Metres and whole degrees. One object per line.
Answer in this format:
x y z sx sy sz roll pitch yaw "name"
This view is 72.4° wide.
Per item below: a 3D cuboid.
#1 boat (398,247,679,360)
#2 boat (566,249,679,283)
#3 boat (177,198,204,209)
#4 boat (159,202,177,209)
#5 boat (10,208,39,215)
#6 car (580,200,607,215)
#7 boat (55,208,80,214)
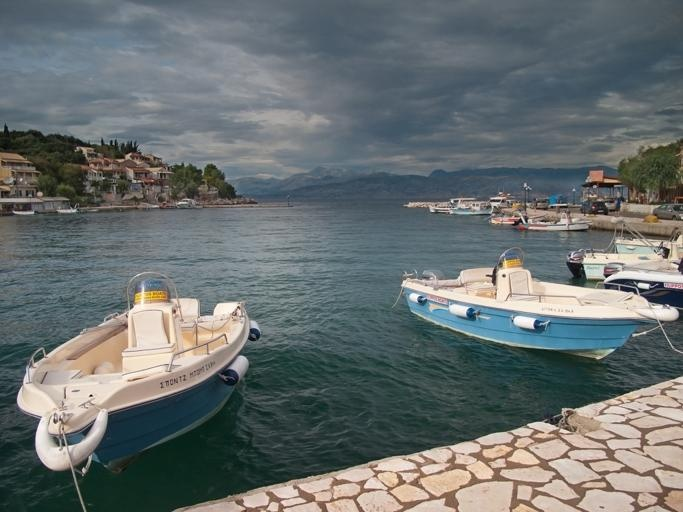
7.104 1.648 18.652 3.827 3.808 10.011 -8 8 -36 "boat"
16.204 0.563 27.977 4.470 1.267 2.240 0 4 29 "boat"
-52.686 -17.808 159.034 3.687 2.948 10.363 0 1 7 "boat"
-56.932 -16.580 152.357 3.428 2.032 9.508 -3 6 -4 "boat"
-67.477 -9.322 99.392 3.676 1.278 5.455 -6 7 -35 "boat"
38.882 -7.631 71.921 3.347 1.817 4.879 3 6 29 "car"
-62.739 -10.401 106.876 3.851 1.472 5.693 -3 6 -13 "boat"
